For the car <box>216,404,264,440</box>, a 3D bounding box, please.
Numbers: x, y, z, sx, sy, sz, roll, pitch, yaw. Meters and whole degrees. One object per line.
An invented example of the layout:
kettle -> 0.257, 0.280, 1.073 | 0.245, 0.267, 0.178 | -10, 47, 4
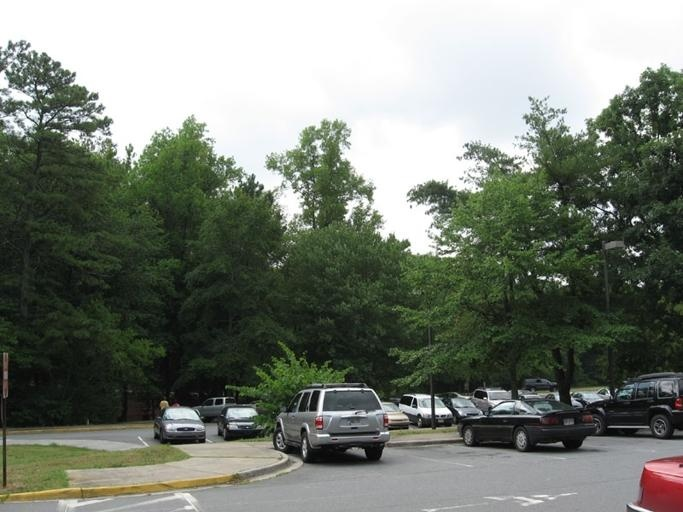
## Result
car -> -5.400, 8.553, 41.999 | 1.511, 1.116, 2.657 | 3, -15, -17

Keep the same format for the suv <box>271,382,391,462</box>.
suv -> -0.945, 6.372, 31.286 | 5.856, 2.932, 2.791 | -9, -15, 36

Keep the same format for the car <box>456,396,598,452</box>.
car -> 7.008, 6.671, 32.936 | 2.142, 1.354, 4.401 | 4, -8, -33

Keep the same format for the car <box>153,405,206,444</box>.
car -> -7.818, 8.103, 39.524 | 1.950, 1.779, 2.706 | 7, -14, -24
